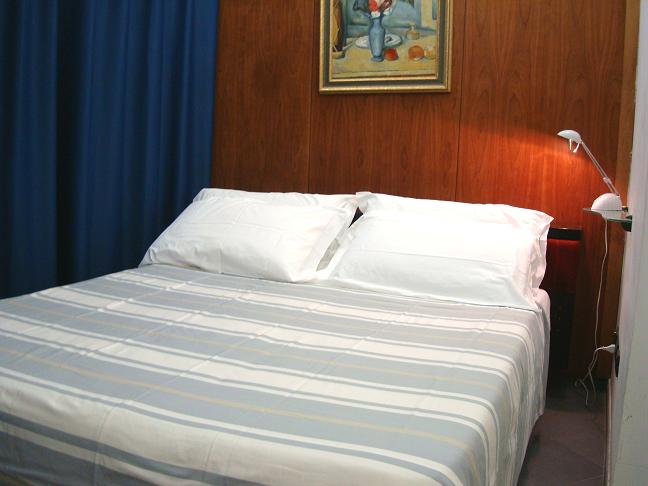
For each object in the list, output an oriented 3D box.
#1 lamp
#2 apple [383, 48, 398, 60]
[{"bbox_3d":[1.280,-0.357,2.581,0.271,0.384,0.164,13,38,38],"label":"lamp"},{"bbox_3d":[0.367,-1.036,2.998,0.064,0.062,0.060,1,-13,12],"label":"apple"}]
